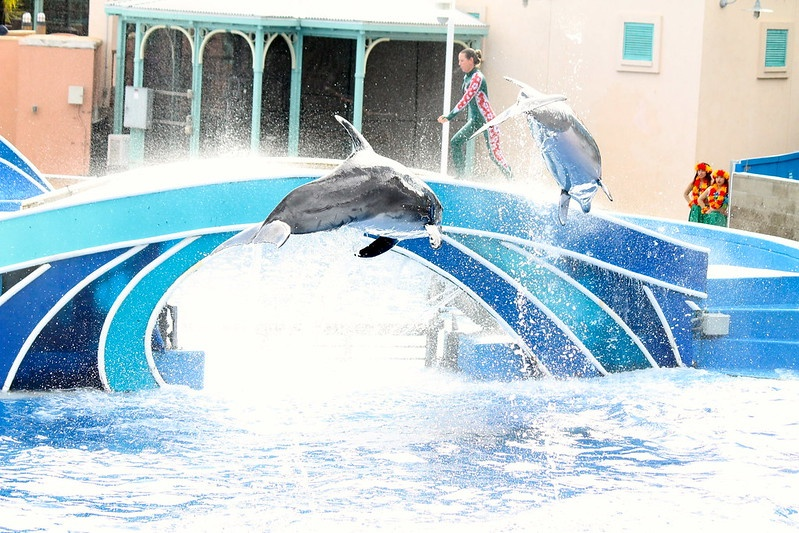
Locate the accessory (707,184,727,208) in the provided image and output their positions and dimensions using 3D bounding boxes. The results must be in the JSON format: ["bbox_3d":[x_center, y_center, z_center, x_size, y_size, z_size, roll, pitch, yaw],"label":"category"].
[{"bbox_3d":[5.180,-1.126,17.793,0.280,0.382,0.110,8,-5,41],"label":"accessory"}]

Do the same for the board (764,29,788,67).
[{"bbox_3d":[7.060,-4.070,20.470,0.441,0.729,0.174,2,2,-11],"label":"board"}]

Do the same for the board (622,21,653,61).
[{"bbox_3d":[4.428,-4.190,20.201,0.610,0.856,0.081,4,8,14],"label":"board"}]

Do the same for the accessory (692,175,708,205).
[{"bbox_3d":[5.000,-1.286,18.161,0.247,0.410,0.156,-6,-5,-2],"label":"accessory"}]

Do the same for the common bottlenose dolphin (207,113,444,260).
[{"bbox_3d":[-0.626,-0.761,11.671,1.064,1.577,2.982,9,2,39],"label":"common bottlenose dolphin"}]

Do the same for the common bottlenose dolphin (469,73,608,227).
[{"bbox_3d":[1.707,-1.339,12.086,0.966,0.896,2.113,-9,-40,29],"label":"common bottlenose dolphin"}]
